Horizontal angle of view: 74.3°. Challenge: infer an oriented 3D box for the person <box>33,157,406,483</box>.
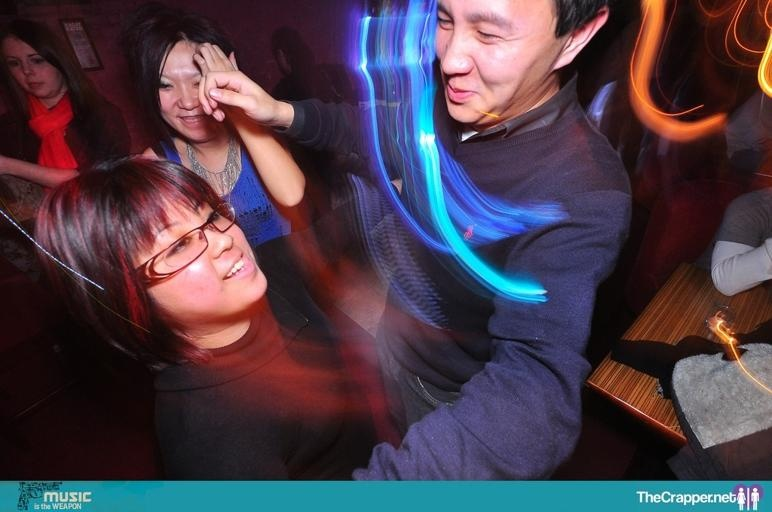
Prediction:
[{"bbox_3d":[-0.750,0.326,2.223,0.514,1.059,1.068,-40,38,18],"label":"person"}]
